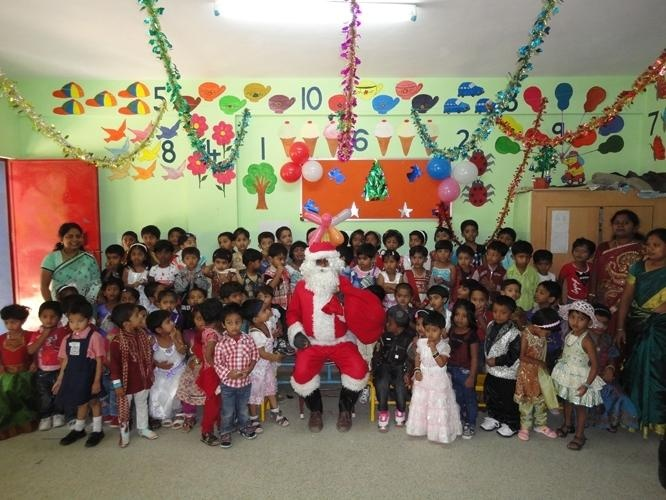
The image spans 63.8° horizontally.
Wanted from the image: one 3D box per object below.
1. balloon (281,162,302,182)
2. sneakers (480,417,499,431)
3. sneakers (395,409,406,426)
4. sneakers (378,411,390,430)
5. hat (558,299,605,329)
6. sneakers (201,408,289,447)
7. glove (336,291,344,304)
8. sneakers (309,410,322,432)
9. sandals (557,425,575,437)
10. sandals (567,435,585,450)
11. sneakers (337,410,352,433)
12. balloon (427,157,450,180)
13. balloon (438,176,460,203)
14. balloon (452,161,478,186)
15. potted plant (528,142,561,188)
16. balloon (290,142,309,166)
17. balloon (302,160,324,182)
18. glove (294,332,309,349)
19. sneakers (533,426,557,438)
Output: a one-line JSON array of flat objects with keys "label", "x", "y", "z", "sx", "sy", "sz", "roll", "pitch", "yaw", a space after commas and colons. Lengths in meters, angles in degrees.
[{"label": "balloon", "x": -0.503, "y": -0.916, "z": 6.324, "sx": 0.243, "sy": 0.233, "sz": 0.203, "roll": 1, "pitch": 1, "yaw": -5}, {"label": "sneakers", "x": 1.298, "y": 1.431, "z": 4.397, "sx": 0.121, "sy": 0.043, "sz": 0.081, "roll": 0, "pitch": 39, "yaw": 8}, {"label": "sneakers", "x": 0.550, "y": 1.399, "z": 4.447, "sx": 0.059, "sy": 0.108, "sz": 0.163, "roll": 1, "pitch": 3, "yaw": 6}, {"label": "sneakers", "x": 0.418, "y": 1.404, "z": 4.416, "sx": 0.074, "sy": 0.147, "sz": 0.063, "roll": -1, "pitch": -41, "yaw": 11}, {"label": "hat", "x": 1.980, "y": 0.516, "z": 4.256, "sx": 0.327, "sy": 0.230, "sz": 0.290, "roll": 2, "pitch": 1, "yaw": 26}, {"label": "sneakers", "x": -0.706, "y": 1.468, "z": 4.325, "sx": 0.675, "sy": 0.146, "sz": 0.181, "roll": 1, "pitch": 1, "yaw": -27}, {"label": "glove", "x": 0.065, "y": 0.393, "z": 4.442, "sx": 0.039, "sy": 0.112, "sz": 0.077, "roll": -3, "pitch": 12, "yaw": 10}, {"label": "sneakers", "x": -0.144, "y": 1.412, "z": 4.462, "sx": 0.120, "sy": 0.146, "sz": 0.171, "roll": 1, "pitch": 1, "yaw": -2}, {"label": "sandals", "x": 1.878, "y": 1.458, "z": 4.317, "sx": 0.149, "sy": 0.078, "sz": 0.064, "roll": 1, "pitch": 1, "yaw": -26}, {"label": "sandals", "x": 1.909, "y": 1.501, "z": 4.158, "sx": 0.161, "sy": 0.086, "sz": 0.065, "roll": 1, "pitch": 1, "yaw": -12}, {"label": "sneakers", "x": 0.108, "y": 1.407, "z": 4.473, "sx": 0.113, "sy": 0.152, "sz": 0.217, "roll": 2, "pitch": 1, "yaw": 10}, {"label": "balloon", "x": 1.211, "y": -0.926, "z": 6.309, "sx": 0.264, "sy": 0.286, "sz": 0.258, "roll": -5, "pitch": -5, "yaw": -25}, {"label": "balloon", "x": 1.332, "y": -0.680, "z": 6.146, "sx": 0.260, "sy": 0.297, "sz": 0.261, "roll": 9, "pitch": 12, "yaw": 36}, {"label": "balloon", "x": 1.563, "y": -0.910, "z": 6.291, "sx": 0.315, "sy": 0.309, "sz": 0.336, "roll": 2, "pitch": 1, "yaw": 9}, {"label": "potted plant", "x": 2.400, "y": -0.942, "z": 6.113, "sx": 0.341, "sy": 0.476, "sz": 0.295, "roll": 4, "pitch": 4, "yaw": 41}, {"label": "balloon", "x": -0.390, "y": -1.155, "z": 6.310, "sx": 0.239, "sy": 0.273, "sz": 0.241, "roll": 19, "pitch": 31, "yaw": 27}, {"label": "balloon", "x": -0.245, "y": -0.928, "z": 6.291, "sx": 0.259, "sy": 0.254, "sz": 0.251, "roll": 1, "pitch": 1, "yaw": -4}, {"label": "glove", "x": -0.265, "y": 0.747, "z": 4.401, "sx": 0.104, "sy": 0.129, "sz": 0.061, "roll": -5, "pitch": -9, "yaw": -9}, {"label": "sneakers", "x": 1.726, "y": 1.451, "z": 4.302, "sx": 0.078, "sy": 0.054, "sz": 0.139, "roll": -10, "pitch": 8, "yaw": -42}]
